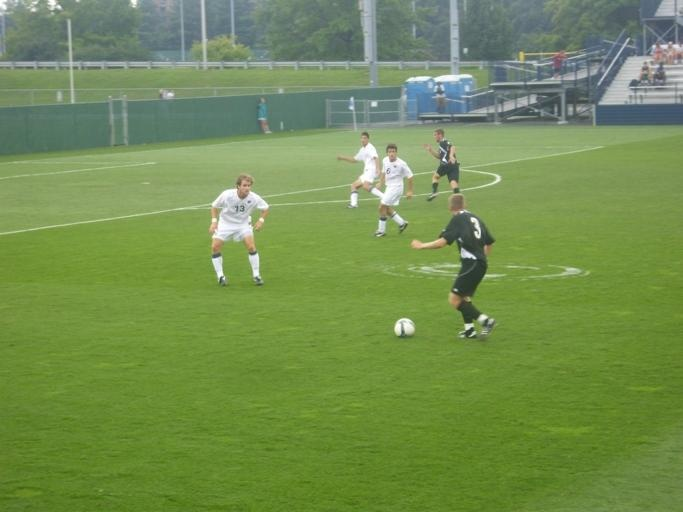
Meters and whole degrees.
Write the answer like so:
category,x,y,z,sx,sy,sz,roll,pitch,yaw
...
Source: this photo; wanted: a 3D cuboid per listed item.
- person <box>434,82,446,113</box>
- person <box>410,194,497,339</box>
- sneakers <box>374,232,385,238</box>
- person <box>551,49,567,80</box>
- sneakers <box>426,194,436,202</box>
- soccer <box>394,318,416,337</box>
category,x,y,z,sx,sy,sz,roll,pitch,yaw
person,5.443,-8.822,65.047,0.552,1.746,1.404,-2,9,4
person,1.637,0.137,16.029,0.878,1.989,0.664,-2,10,6
sneakers,0.742,-0.442,23.468,0.186,0.101,0.279,-1,8,3
person,11.031,-9.644,59.241,0.587,1.152,0.855,-5,10,-14
sneakers,2.159,-1.451,28.740,0.276,0.096,0.303,-15,-8,-11
soccer,0.846,0.994,16.200,0.308,0.226,0.263,2,-5,-6
